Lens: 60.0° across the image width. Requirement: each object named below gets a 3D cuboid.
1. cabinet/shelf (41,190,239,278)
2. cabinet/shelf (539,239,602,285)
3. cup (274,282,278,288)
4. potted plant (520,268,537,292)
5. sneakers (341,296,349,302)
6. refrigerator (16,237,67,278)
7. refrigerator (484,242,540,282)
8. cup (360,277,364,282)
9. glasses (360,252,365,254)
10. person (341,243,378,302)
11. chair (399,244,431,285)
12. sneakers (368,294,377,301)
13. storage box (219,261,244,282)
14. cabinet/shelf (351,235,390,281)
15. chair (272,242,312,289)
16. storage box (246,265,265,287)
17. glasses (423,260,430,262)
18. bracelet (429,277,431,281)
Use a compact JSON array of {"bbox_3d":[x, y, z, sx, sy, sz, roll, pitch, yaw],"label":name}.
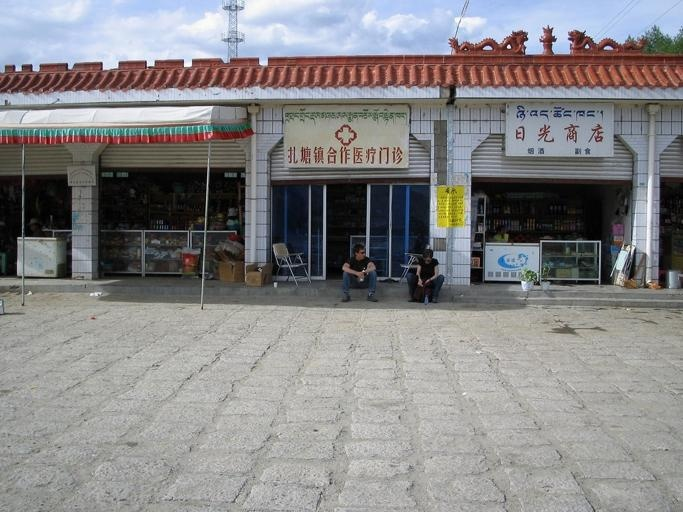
[{"bbox_3d":[-5.242,-0.750,17.077,5.075,2.314,2.902,2,8,8],"label":"cabinet/shelf"},{"bbox_3d":[5.699,0.150,14.679,1.279,0.824,0.410,0,1,5],"label":"cabinet/shelf"},{"bbox_3d":[-1.603,0.694,14.278,0.142,0.174,0.096,0,-5,-1],"label":"cup"},{"bbox_3d":[4.397,0.562,13.849,0.480,0.459,0.515,2,-4,-2],"label":"potted plant"},{"bbox_3d":[0.090,0.913,13.058,0.183,0.143,0.284,1,8,5],"label":"sneakers"},{"bbox_3d":[-7.941,0.042,15.545,1.176,0.952,0.625,2,6,4],"label":"refrigerator"},{"bbox_3d":[4.437,0.094,15.408,1.918,1.130,0.949,0,1,6],"label":"refrigerator"},{"bbox_3d":[0.457,0.522,13.327,0.084,0.097,0.090,-2,-43,-1],"label":"cup"},{"bbox_3d":[0.469,-0.070,13.347,0.068,0.039,0.086,1,0,1],"label":"glasses"},{"bbox_3d":[0.419,0.348,13.274,0.757,1.211,0.819,1,8,4],"label":"person"},{"bbox_3d":[1.905,0.228,14.361,1.004,1.114,0.741,1,-1,-5],"label":"chair"},{"bbox_3d":[0.696,0.913,13.094,0.212,0.177,0.301,1,8,3],"label":"sneakers"},{"bbox_3d":[-2.811,0.385,15.059,0.653,0.487,0.474,-1,8,-9],"label":"storage box"},{"bbox_3d":[0.573,-0.118,15.325,1.284,1.496,0.843,0,0,7],"label":"cabinet/shelf"},{"bbox_3d":[-1.300,0.129,15.137,1.164,1.378,0.945,2,5,27],"label":"chair"},{"bbox_3d":[-2.106,0.506,14.538,0.487,0.513,0.818,-1,0,5],"label":"storage box"},{"bbox_3d":[1.888,0.125,12.962,0.132,0.075,0.030,1,8,5],"label":"glasses"},{"bbox_3d":[1.928,0.500,12.824,0.067,0.058,0.040,-2,17,-7],"label":"bracelet"}]
